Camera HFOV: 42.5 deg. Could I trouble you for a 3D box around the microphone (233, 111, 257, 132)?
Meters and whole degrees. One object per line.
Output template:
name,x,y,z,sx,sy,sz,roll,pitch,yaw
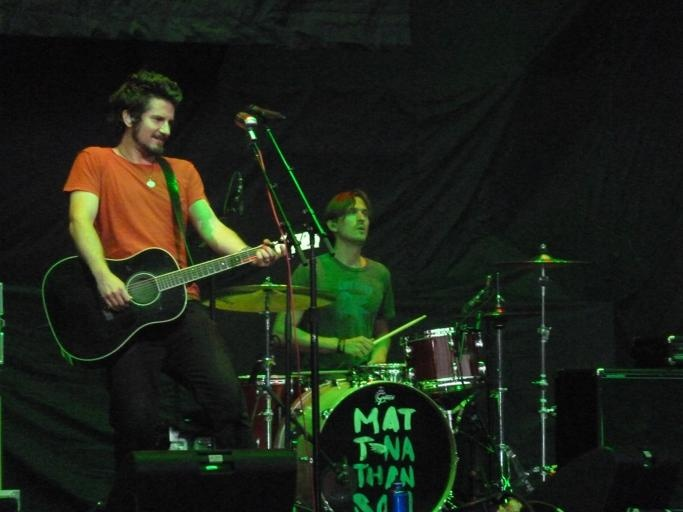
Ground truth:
microphone,-0.546,-0.765,5.075,0.091,0.058,0.151,-7,16,-15

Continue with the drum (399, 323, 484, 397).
drum,0.687,0.696,6.031,0.509,0.318,0.495,-11,-9,-2

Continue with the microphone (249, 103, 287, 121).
microphone,-0.429,-0.824,5.092,0.200,0.086,0.220,3,1,0

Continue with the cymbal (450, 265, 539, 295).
cymbal,1.195,0.173,6.671,0.373,0.077,0.348,6,-16,-4

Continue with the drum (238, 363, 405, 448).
drum,-0.196,0.872,5.818,0.814,0.691,0.729,-2,-2,-31

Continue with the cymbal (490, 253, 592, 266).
cymbal,1.477,0.037,6.513,0.697,0.109,0.441,3,1,7

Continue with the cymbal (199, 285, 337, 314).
cymbal,-0.532,0.286,5.806,0.381,0.071,0.372,-9,-15,22

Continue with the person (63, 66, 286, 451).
person,-0.856,0.289,5.096,1.341,2.734,0.695,-3,-10,-15
